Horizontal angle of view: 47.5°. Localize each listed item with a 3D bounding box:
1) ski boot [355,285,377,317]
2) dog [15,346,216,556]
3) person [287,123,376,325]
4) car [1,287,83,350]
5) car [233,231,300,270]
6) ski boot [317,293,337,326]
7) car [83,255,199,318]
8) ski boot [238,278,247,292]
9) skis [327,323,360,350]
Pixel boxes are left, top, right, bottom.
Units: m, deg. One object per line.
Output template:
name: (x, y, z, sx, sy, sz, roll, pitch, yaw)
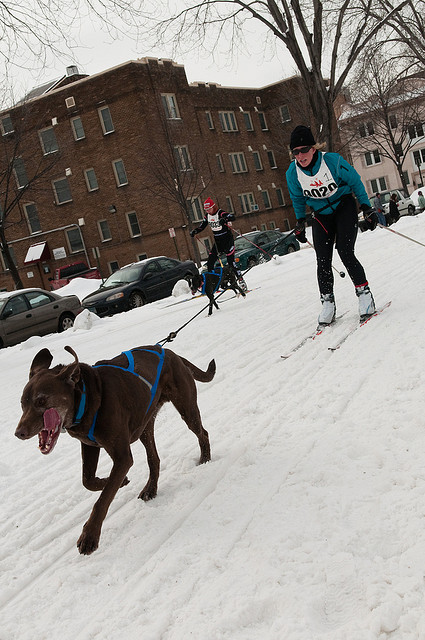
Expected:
ski boot: (1.844, -0.243, 5.870, 0.194, 0.281, 0.300, -17, 7, 16)
dog: (-0.448, 0.620, 3.000, 0.399, 0.979, 1.750, -10, 0, 28)
person: (1.425, -1.158, 5.886, 0.894, 1.818, 0.958, -14, 8, 40)
car: (-5.526, -0.145, 14.887, 2.809, 1.280, 1.327, -7, -1, -43)
car: (2.383, -3.192, 20.949, 1.751, 1.456, 4.080, -1, 5, 41)
ski boot: (1.465, -0.144, 6.211, 0.212, 0.322, 0.340, -16, 7, 27)
car: (-2.575, -1.233, 17.156, 1.963, 1.737, 4.759, -7, 6, 39)
ski boot: (0.738, -0.873, 11.783, 0.107, 0.282, 0.195, -25, 6, -1)
skis: (1.477, 0.186, 5.420, 0.372, 0.057, 0.054, -46, -17, -34)
